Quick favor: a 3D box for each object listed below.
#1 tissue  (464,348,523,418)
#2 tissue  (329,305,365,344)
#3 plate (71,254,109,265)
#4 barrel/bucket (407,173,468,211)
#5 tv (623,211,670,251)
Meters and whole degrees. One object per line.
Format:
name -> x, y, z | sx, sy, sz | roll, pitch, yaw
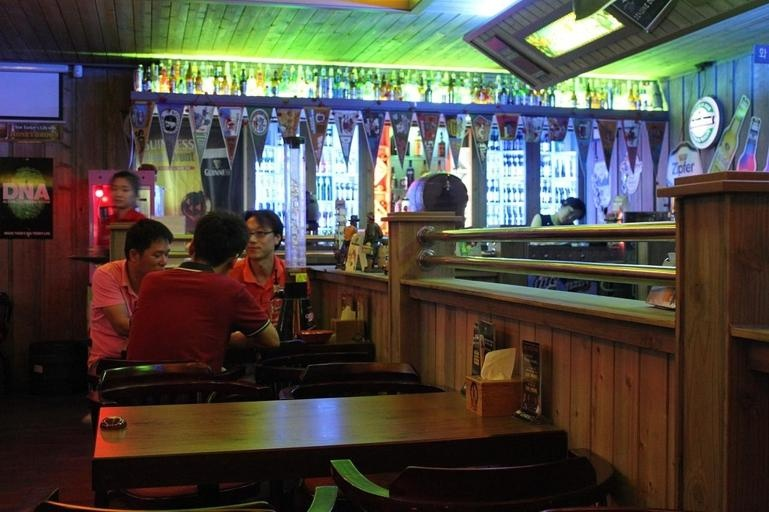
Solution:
tissue  -> 0.451, 0.494, 2.563 | 0.236, 0.327, 0.234 | 2, -6, -3
tissue  -> -0.261, 0.462, 4.437 | 0.218, 0.241, 0.223 | -1, 2, -7
plate -> -2.965, 0.023, 6.663 | 0.311, 0.078, 0.315 | 0, -1, 5
barrel/bucket -> 0.419, -0.517, 5.477 | 0.361, 0.368, 0.497 | 16, 0, -9
tv -> 2.848, -0.326, 6.943 | 0.397, 0.357, 1.515 | 3, 7, 24
